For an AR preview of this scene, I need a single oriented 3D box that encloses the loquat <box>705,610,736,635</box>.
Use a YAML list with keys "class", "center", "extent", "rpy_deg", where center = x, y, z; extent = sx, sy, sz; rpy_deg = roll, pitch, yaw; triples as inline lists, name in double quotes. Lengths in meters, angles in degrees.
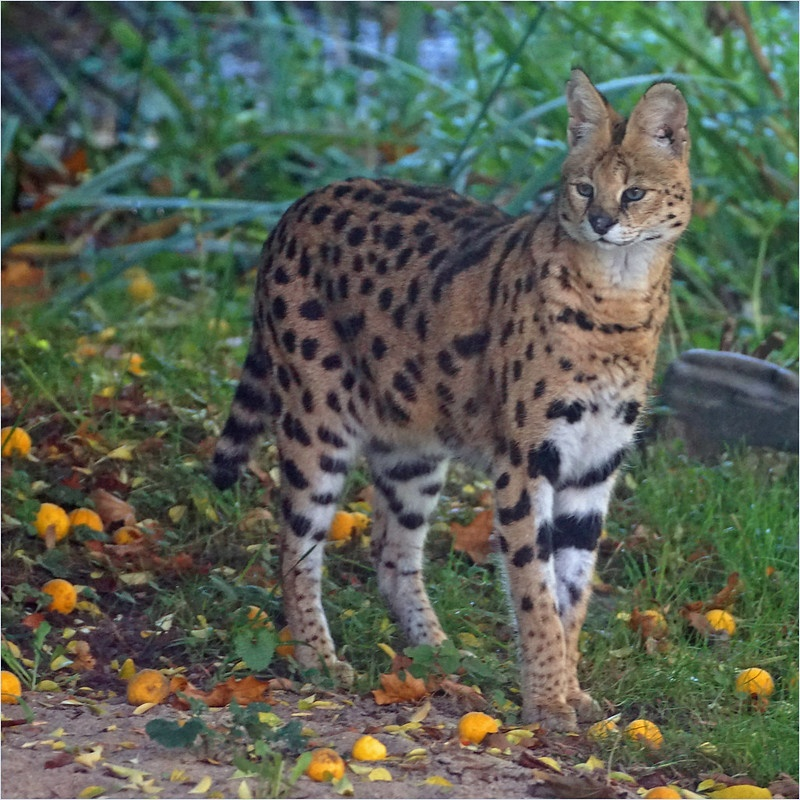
- class: "loquat"
  center: [1.100, 0.764, 3.831]
  extent: [0.107, 0.087, 0.099]
  rpy_deg: [4, -5, -38]
